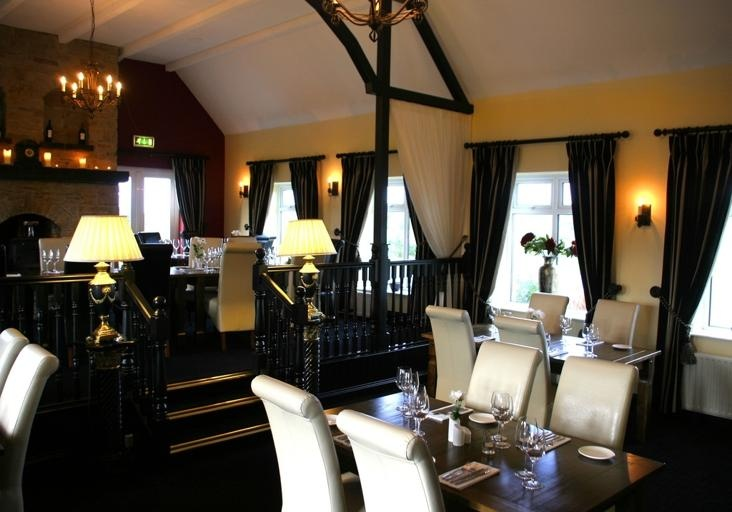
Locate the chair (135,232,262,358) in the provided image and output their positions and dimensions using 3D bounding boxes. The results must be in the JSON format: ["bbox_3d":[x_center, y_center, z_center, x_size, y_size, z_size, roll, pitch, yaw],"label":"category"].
[{"bbox_3d":[-1.889,0.454,6.755,0.735,1.293,1.779,-1,5,-33],"label":"chair"}]

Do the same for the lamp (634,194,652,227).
[{"bbox_3d":[3.336,-0.516,6.722,0.150,0.326,0.155,-1,2,-31],"label":"lamp"}]

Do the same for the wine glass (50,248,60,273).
[{"bbox_3d":[-3.672,0.066,6.546,0.099,0.276,0.291,-1,4,-31],"label":"wine glass"}]

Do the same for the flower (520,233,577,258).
[{"bbox_3d":[2.395,-0.141,7.281,0.586,0.309,0.525,0,4,-16],"label":"flower"}]

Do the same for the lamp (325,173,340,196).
[{"bbox_3d":[-0.610,-1.338,10.258,0.199,0.425,0.383,3,-5,-40],"label":"lamp"}]

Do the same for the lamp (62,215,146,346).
[{"bbox_3d":[-2.244,0.203,4.772,0.580,1.090,0.589,-1,4,-30],"label":"lamp"}]

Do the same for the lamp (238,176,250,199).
[{"bbox_3d":[-2.683,-1.465,12.202,0.125,0.409,0.447,-1,4,-29],"label":"lamp"}]

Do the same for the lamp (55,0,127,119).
[{"bbox_3d":[-4.438,-3.064,9.041,0.958,1.902,3.249,-1,4,-27],"label":"lamp"}]

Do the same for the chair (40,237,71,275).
[{"bbox_3d":[-3.690,0.015,6.578,0.403,0.612,0.413,0,0,-29],"label":"chair"}]
